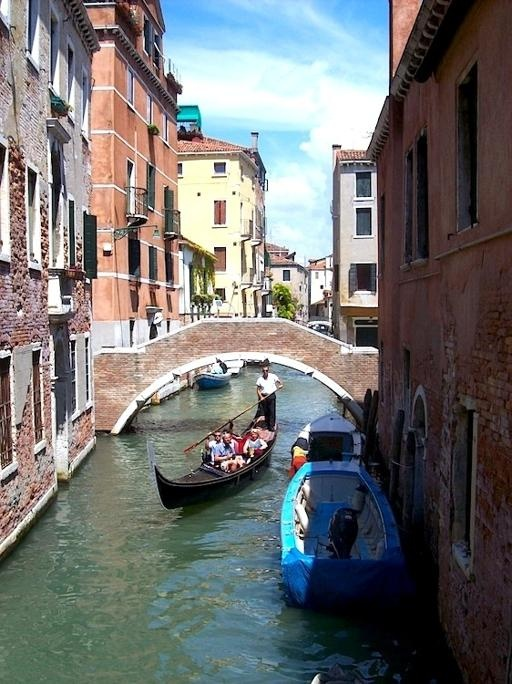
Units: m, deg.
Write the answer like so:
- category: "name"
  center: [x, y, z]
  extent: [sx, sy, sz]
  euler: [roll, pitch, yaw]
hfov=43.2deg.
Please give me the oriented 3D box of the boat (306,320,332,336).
- category: "boat"
  center: [6.035, -1.433, 62.091]
  extent: [1.598, 0.819, 21.119]
  euler: [-2, 3, 5]

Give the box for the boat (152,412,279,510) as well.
- category: "boat"
  center: [-0.912, 2.768, 14.940]
  extent: [0.756, 2.273, 5.396]
  euler: [2, 2, 18]
